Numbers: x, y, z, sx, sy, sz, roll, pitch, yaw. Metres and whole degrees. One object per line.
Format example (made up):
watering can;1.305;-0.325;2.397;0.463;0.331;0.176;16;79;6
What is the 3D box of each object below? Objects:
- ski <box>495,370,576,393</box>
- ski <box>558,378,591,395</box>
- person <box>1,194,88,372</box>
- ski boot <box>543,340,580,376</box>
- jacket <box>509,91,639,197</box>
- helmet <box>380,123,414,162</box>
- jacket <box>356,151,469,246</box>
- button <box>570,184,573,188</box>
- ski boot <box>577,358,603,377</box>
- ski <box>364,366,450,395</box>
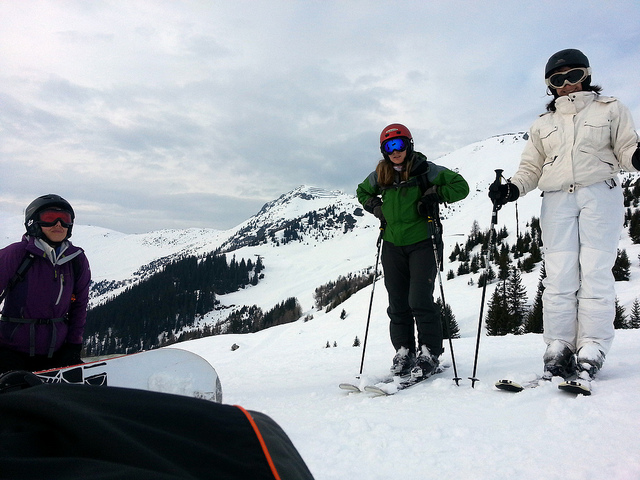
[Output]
ski;2.148;1.397;5.262;1.041;0.120;0.170;1;2;-27
ski;2.390;1.362;5.009;0.265;0.102;0.339;-3;-6;27
person;-3.011;0.445;5.833;0.865;1.860;0.497;3;-7;-27
ski boot;2.417;1.189;5.390;0.270;0.330;0.143;0;-8;6
jacket;2.685;-0.958;5.563;0.664;1.116;1.290;17;-17;-40
helmet;0.951;-1.146;6.527;0.400;0.485;0.493;-11;-9;9
jacket;1.069;-0.479;6.544;1.462;1.154;0.548;1;11;38
button;2.595;-0.555;5.514;0.025;0.022;0.003;-4;-7;32
ski boot;2.628;1.225;5.210;0.168;0.149;0.166;20;-10;36
ski;0.976;1.576;5.975;1.086;0.164;0.278;4;-7;-38
